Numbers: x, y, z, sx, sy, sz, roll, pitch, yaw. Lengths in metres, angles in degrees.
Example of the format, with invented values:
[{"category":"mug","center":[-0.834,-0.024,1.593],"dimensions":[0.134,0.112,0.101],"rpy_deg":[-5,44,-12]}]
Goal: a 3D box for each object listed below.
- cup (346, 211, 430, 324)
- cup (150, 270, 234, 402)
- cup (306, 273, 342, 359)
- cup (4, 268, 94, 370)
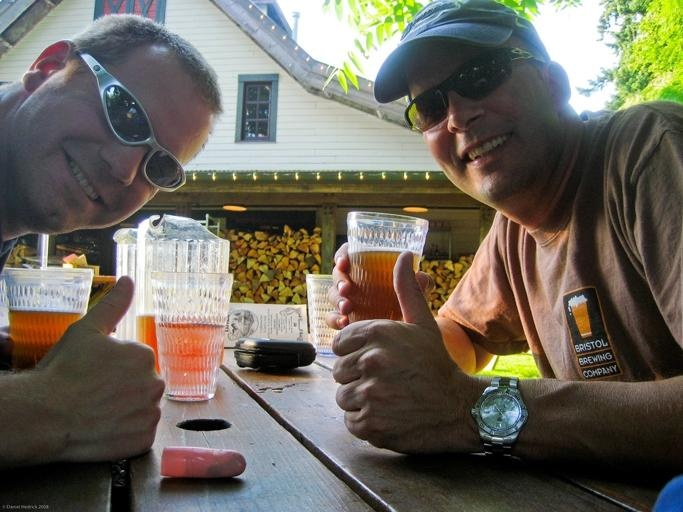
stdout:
[{"category":"cup","center":[0.127,0.040,1.919],"dimensions":[0.251,0.364,0.269],"rpy_deg":[6,1,0]},{"category":"cup","center":[-0.476,0.197,1.769],"dimensions":[0.212,0.457,0.197],"rpy_deg":[4,6,0]},{"category":"cup","center":[-0.109,0.304,2.907],"dimensions":[0.198,0.410,0.189],"rpy_deg":[1,-6,0]},{"category":"cup","center":[-0.869,0.147,1.702],"dimensions":[0.218,0.408,0.181],"rpy_deg":[14,17,38]}]
